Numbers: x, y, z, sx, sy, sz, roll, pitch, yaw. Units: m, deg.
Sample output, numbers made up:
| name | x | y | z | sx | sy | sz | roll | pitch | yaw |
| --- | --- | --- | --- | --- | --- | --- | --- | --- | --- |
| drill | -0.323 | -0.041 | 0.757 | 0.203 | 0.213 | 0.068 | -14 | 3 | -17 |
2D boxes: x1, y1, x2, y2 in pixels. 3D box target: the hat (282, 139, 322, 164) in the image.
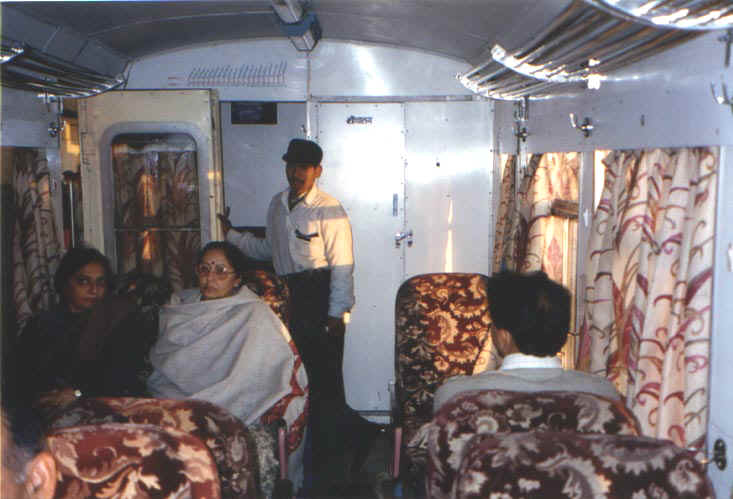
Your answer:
| name | x | y | z | sx | sy | sz | roll | pitch | yaw |
| --- | --- | --- | --- | --- | --- | --- | --- | --- | --- |
| hat | -0.377 | -0.589 | 4.230 | 0.186 | 0.100 | 0.142 | 21 | 18 | 41 |

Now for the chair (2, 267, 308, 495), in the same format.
| name | x | y | z | sx | sy | sz | roll | pitch | yaw |
| --- | --- | --- | --- | --- | --- | --- | --- | --- | --- |
| chair | -0.939 | 0.534 | 2.856 | 1.008 | 0.857 | 0.964 | 6 | -7 | -9 |

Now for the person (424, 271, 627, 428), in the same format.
| name | x | y | z | sx | sy | sz | roll | pitch | yaw |
| --- | --- | --- | --- | --- | --- | --- | --- | --- | --- |
| person | 0.614 | 0.394 | 2.698 | 0.747 | 0.657 | 0.369 | 1 | -1 | -13 |
